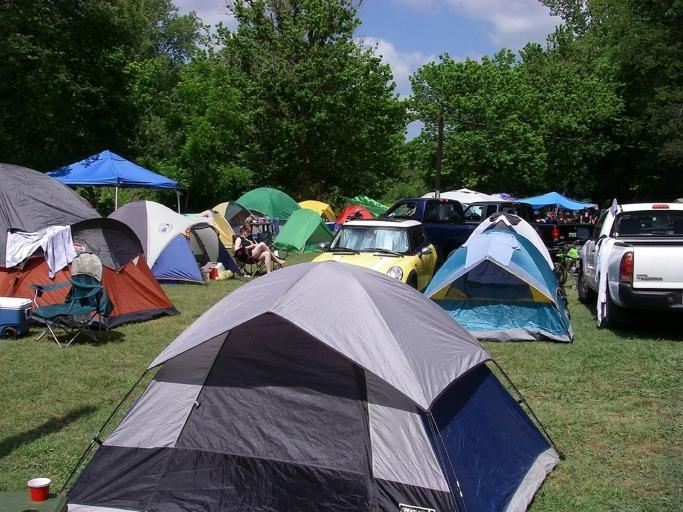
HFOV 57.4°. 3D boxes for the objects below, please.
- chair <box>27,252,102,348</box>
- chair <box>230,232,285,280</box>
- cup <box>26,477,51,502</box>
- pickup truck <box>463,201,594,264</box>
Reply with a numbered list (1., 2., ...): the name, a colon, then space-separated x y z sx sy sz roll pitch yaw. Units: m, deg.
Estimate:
1. chair: -4.488 0.664 10.142 1.021 1.478 0.985 7 5 39
2. chair: -2.219 -0.147 16.658 1.211 1.608 0.678 -7 -2 19
3. cup: -2.456 1.868 5.088 0.175 0.170 0.188 2 -8 0
4. pickup truck: 5.434 -0.947 18.230 3.497 1.645 1.830 6 8 44
